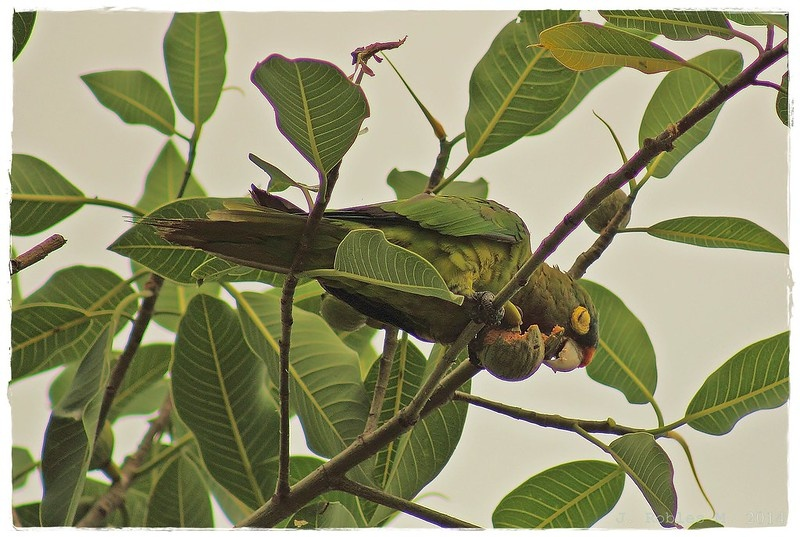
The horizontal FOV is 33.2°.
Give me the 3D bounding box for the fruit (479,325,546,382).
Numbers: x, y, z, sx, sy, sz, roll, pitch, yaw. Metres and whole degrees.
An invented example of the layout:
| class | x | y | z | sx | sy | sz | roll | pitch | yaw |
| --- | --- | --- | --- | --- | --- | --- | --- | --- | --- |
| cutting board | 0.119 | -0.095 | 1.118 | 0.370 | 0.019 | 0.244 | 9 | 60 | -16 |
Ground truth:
| class | x | y | z | sx | sy | sz | roll | pitch | yaw |
| --- | --- | --- | --- | --- | --- | --- | --- | --- | --- |
| fruit | 0.260 | 0.192 | 3.088 | 0.115 | 0.133 | 0.099 | 2 | -98 | -7 |
